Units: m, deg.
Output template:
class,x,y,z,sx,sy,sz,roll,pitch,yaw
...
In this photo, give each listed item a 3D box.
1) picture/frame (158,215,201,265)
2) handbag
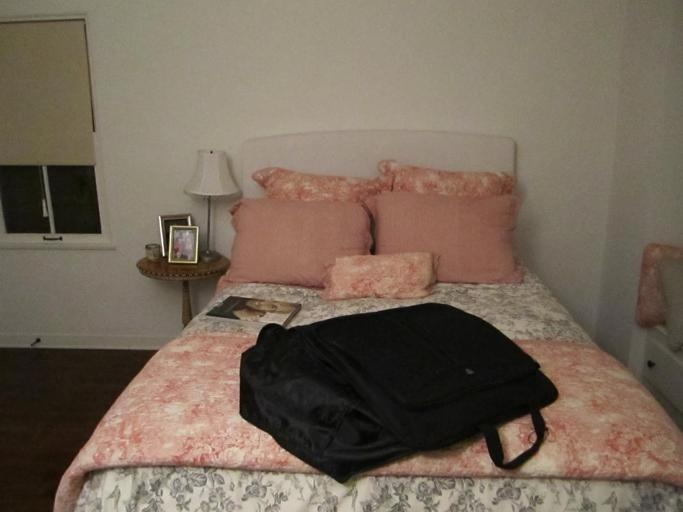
class,x,y,z,sx,sy,sz,roll,pitch,yaw
picture/frame,-0.988,-0.093,3.455,0.286,0.373,0.038,-5,0,-30
handbag,0.213,0.460,1.959,0.684,0.176,0.663,-7,15,-33
